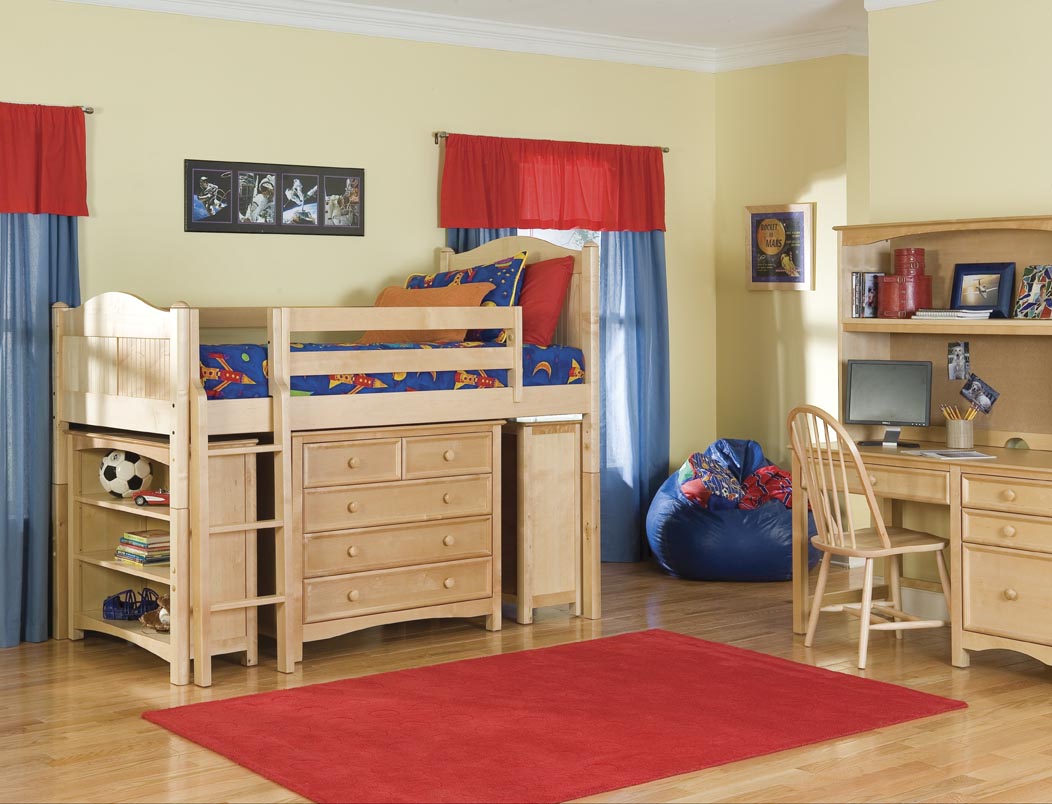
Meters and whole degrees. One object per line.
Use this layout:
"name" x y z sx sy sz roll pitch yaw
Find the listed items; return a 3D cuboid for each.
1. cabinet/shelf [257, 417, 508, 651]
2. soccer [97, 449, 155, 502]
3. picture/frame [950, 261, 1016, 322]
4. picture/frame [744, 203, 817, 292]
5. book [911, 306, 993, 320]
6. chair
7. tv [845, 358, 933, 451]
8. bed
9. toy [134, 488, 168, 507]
"cabinet/shelf" -0.468 0.693 4.532 1.159 0.986 0.552 -11 -21 27
"soccer" -1.798 0.348 4.383 0.260 0.250 0.230 -1 -14 -6
"picture/frame" 2.056 -0.503 4.264 0.268 0.224 0.027 2 10 -1
"picture/frame" 1.656 -0.986 6.043 0.626 0.642 0.037 7 11 40
"book" 1.921 -0.391 4.274 0.123 0.062 0.362 -2 3 -41
"chair" 1.589 0.581 4.312 0.738 1.066 0.729 1 -2 -31
"tv" 1.722 -0.002 4.437 0.154 0.385 0.446 0 2 -34
"bed" -0.898 0.233 4.768 2.343 1.667 1.300 -2 4 -44
"toy" -1.666 0.431 4.187 0.121 0.046 0.071 -1 4 -6
